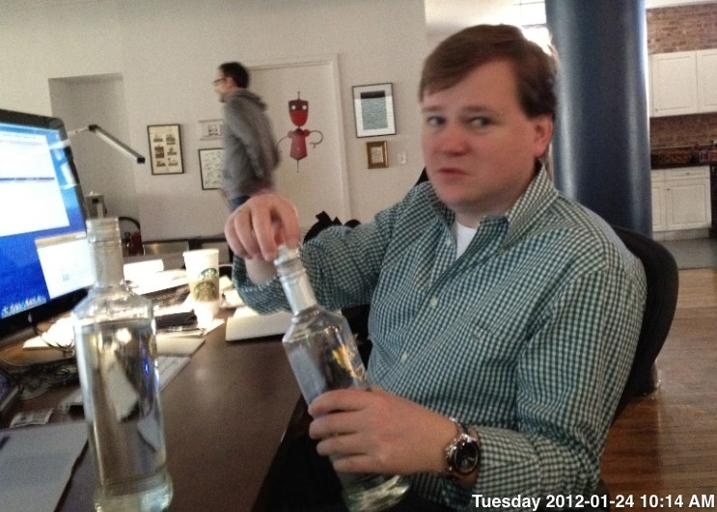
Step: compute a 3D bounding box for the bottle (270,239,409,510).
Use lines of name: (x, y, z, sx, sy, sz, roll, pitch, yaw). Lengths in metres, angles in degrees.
bottle: (-0.019, 0.259, 0.932, 0.163, 0.578, 0.162, -8, 11, 1)

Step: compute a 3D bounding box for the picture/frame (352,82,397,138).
picture/frame: (0.159, -1.376, 5.034, 0.465, 0.571, 0.044, -4, 10, 7)

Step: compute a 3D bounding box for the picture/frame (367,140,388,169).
picture/frame: (0.179, -0.962, 5.077, 0.242, 0.301, 0.021, -2, 8, 1)

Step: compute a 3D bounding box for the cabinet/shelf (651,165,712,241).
cabinet/shelf: (3.863, -0.625, 6.489, 0.761, 0.897, 0.236, -7, 11, 4)

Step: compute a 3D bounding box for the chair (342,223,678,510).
chair: (0.278, 0.200, 1.321, 0.632, 0.586, 0.486, 5, -3, -5)

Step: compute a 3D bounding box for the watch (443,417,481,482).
watch: (0.185, 0.367, 1.023, 0.069, 0.113, 0.105, -5, -6, -9)
